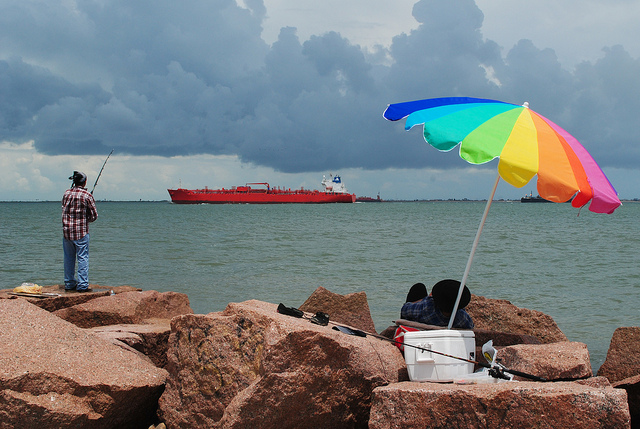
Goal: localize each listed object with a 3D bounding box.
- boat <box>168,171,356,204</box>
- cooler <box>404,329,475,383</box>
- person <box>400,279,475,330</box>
[{"bbox_3d":[-8.087,-3.523,113.570,26.152,5.021,4.006,1,-14,-9],"label":"boat"},{"bbox_3d":[2.079,2.464,13.726,1.134,0.732,0.822,6,-7,-43],"label":"cooler"},{"bbox_3d":[1.925,1.660,14.863,1.170,1.103,1.735,-2,-2,0],"label":"person"}]
